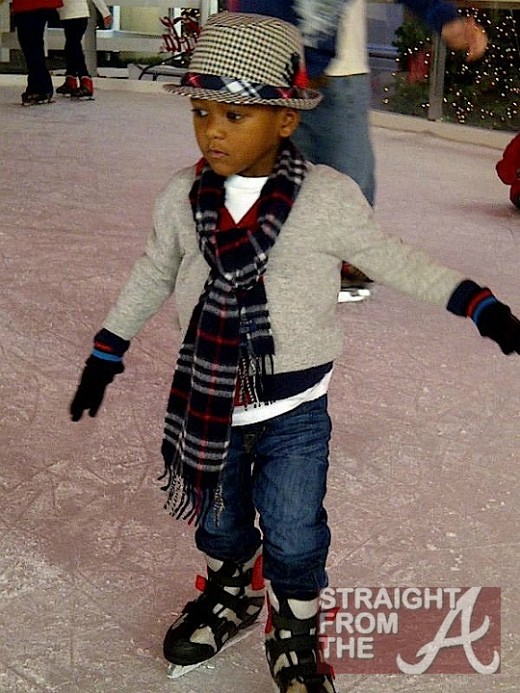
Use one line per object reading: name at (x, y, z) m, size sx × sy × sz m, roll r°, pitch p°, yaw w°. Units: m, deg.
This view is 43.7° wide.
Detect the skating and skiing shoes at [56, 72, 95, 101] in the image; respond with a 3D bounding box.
skating and skiing shoes at (-2.050, -2.867, 7.321) m, size 0.625 × 0.247 × 0.187 m, roll 22°, pitch 42°, yaw 30°

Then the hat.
hat at (-0.019, -0.301, 0.708) m, size 0.202 × 0.121 × 0.124 m, roll 15°, pitch 32°, yaw 33°
